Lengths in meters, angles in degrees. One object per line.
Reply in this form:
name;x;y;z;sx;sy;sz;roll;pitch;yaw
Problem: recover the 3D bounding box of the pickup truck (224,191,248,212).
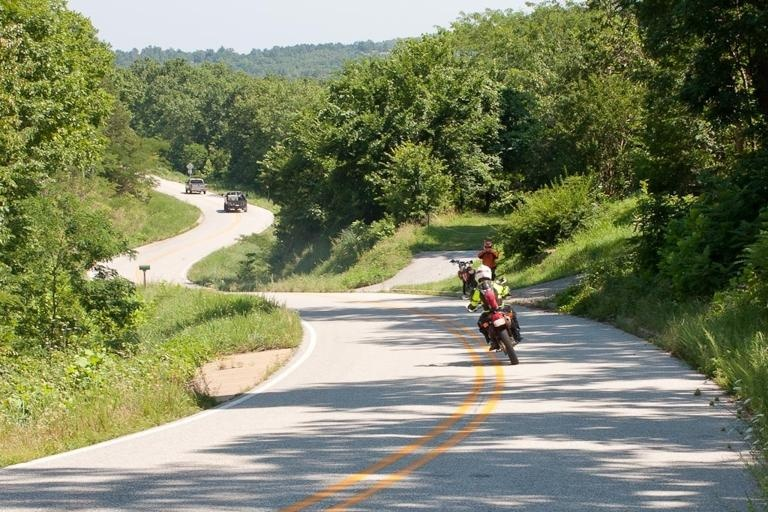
pickup truck;-16.224;-5.789;121.677;1.863;1.292;3.738;-1;11;-8
